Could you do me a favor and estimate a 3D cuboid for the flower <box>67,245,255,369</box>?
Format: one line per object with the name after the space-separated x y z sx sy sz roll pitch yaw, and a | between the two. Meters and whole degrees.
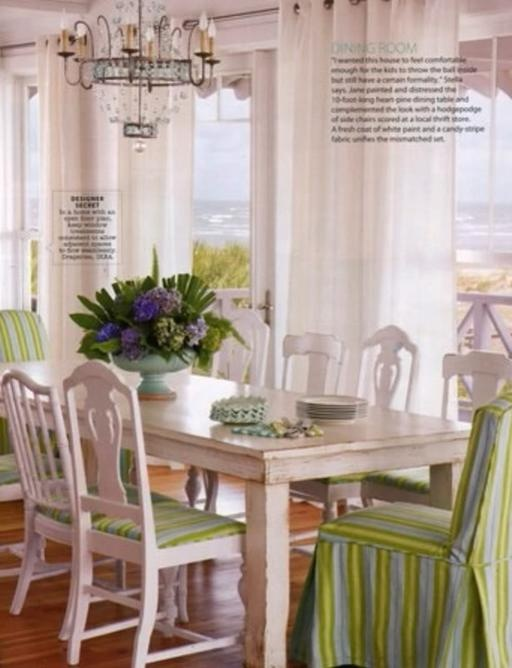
-0.360 -0.071 2.379 0.579 0.371 0.491 -8 14 -26 | flower

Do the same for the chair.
0.139 0.430 1.838 0.819 0.543 0.661 -5 13 -24 | chair
